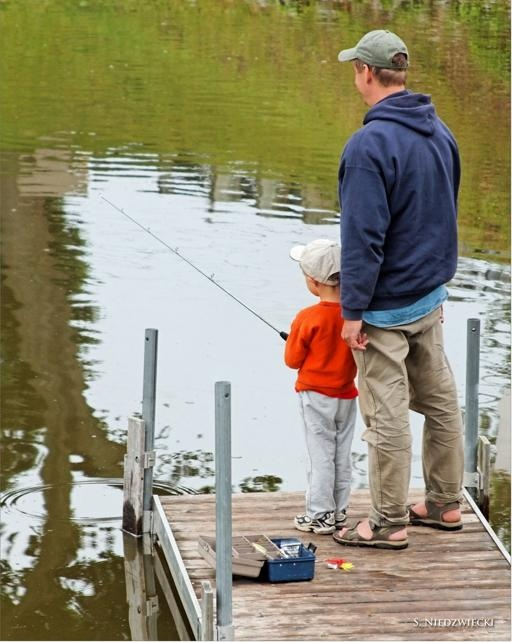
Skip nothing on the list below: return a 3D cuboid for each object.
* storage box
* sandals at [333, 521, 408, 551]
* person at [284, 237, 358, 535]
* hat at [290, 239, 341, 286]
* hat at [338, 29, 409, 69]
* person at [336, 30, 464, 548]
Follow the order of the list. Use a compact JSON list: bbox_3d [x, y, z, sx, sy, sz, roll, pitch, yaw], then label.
[{"bbox_3d":[0.043,0.773,4.862,0.401,0.120,0.468,-6,11,-18],"label":"storage box"},{"bbox_3d":[0.415,0.771,5.025,0.247,0.129,0.098,5,1,12],"label":"sandals"},{"bbox_3d":[0.256,0.247,5.129,0.274,1.079,0.331,3,8,16],"label":"person"},{"bbox_3d":[0.226,-0.206,4.982,0.147,0.149,0.088,1,13,5],"label":"hat"},{"bbox_3d":[0.407,-0.954,4.882,0.240,0.130,0.209,2,14,8],"label":"hat"},{"bbox_3d":[0.490,-0.129,5.015,0.442,1.802,0.647,8,16,39],"label":"person"}]
